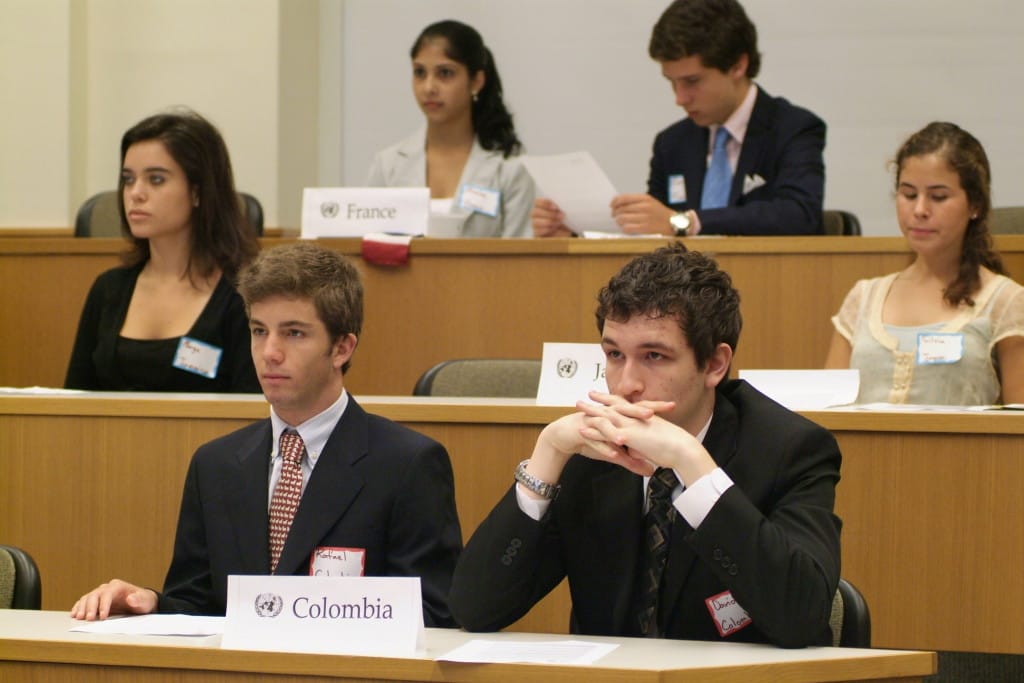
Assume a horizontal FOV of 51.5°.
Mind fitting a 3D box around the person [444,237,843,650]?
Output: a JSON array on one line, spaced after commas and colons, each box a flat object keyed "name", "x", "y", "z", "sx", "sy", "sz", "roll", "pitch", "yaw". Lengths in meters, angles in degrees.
[{"name": "person", "x": 0.355, "y": 0.259, "z": 2.675, "sx": 0.909, "sy": 1.015, "sz": 0.488, "roll": 1, "pitch": 4, "yaw": 19}]

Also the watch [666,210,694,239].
[{"name": "watch", "x": 0.691, "y": -0.475, "z": 4.325, "sx": 0.105, "sy": 0.114, "sz": 0.072, "roll": 1, "pitch": 10, "yaw": -24}]

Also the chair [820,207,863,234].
[{"name": "chair", "x": 1.472, "y": -0.514, "z": 4.734, "sx": 0.115, "sy": 0.190, "sz": 0.171, "roll": 2, "pitch": -5, "yaw": -14}]

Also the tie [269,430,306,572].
[{"name": "tie", "x": -0.626, "y": 0.432, "z": 2.936, "sx": 0.097, "sy": 0.365, "sz": 0.132, "roll": 0, "pitch": 4, "yaw": 6}]

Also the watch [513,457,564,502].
[{"name": "watch", "x": 0.061, "y": 0.341, "z": 2.690, "sx": 0.100, "sy": 0.076, "sz": 0.108, "roll": 27, "pitch": 10, "yaw": 34}]

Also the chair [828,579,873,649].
[{"name": "chair", "x": 0.889, "y": 0.687, "z": 2.796, "sx": 0.128, "sy": 0.243, "sz": 0.141, "roll": -5, "pitch": -17, "yaw": 27}]

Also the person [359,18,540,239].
[{"name": "person", "x": -0.291, "y": -1.061, "z": 5.317, "sx": 0.803, "sy": 1.080, "sz": 0.449, "roll": -1, "pitch": 4, "yaw": 0}]

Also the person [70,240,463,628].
[{"name": "person", "x": -0.650, "y": 0.517, "z": 2.915, "sx": 0.957, "sy": 1.534, "sz": 0.786, "roll": -1, "pitch": -1, "yaw": 8}]
